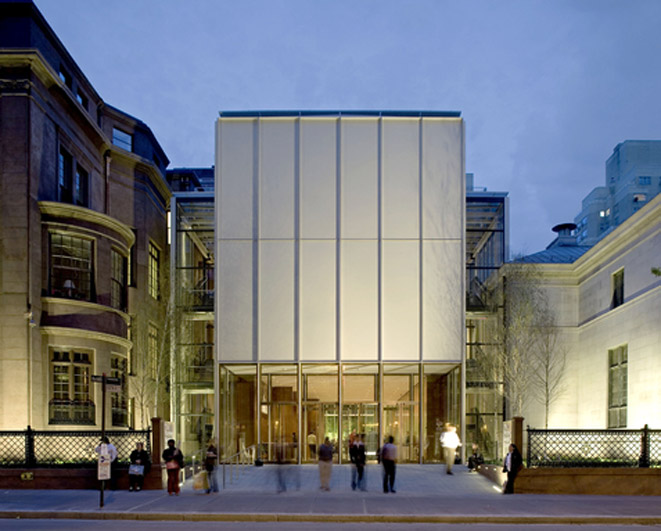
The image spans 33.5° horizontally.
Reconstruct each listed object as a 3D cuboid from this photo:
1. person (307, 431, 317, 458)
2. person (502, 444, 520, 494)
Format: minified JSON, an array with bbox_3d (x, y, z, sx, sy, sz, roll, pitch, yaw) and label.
[{"bbox_3d":[-0.905,8.998,54.830,0.525,1.278,1.100,-1,-12,-2],"label":"person"},{"bbox_3d":[7.318,8.124,44.063,0.787,2.000,1.154,-3,-11,10],"label":"person"}]
